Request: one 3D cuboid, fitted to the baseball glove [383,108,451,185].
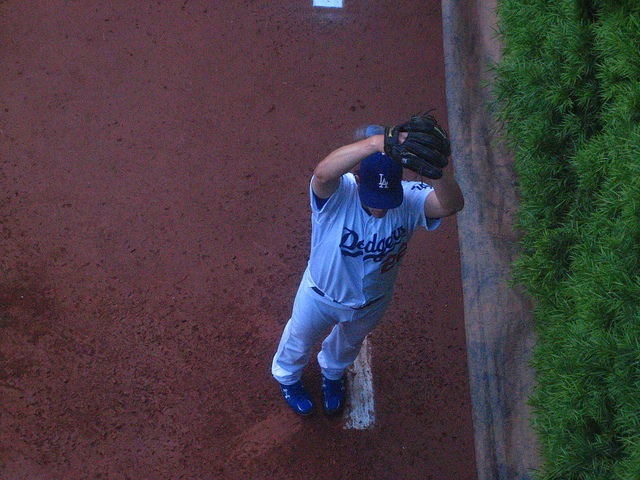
[{"bbox_3d":[0.757,-0.718,7.526,0.415,0.191,0.552,-7,83,7],"label":"baseball glove"}]

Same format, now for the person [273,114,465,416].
[{"bbox_3d":[0.333,0.274,8.370,1.133,3.420,1.035,8,38,-5],"label":"person"}]
